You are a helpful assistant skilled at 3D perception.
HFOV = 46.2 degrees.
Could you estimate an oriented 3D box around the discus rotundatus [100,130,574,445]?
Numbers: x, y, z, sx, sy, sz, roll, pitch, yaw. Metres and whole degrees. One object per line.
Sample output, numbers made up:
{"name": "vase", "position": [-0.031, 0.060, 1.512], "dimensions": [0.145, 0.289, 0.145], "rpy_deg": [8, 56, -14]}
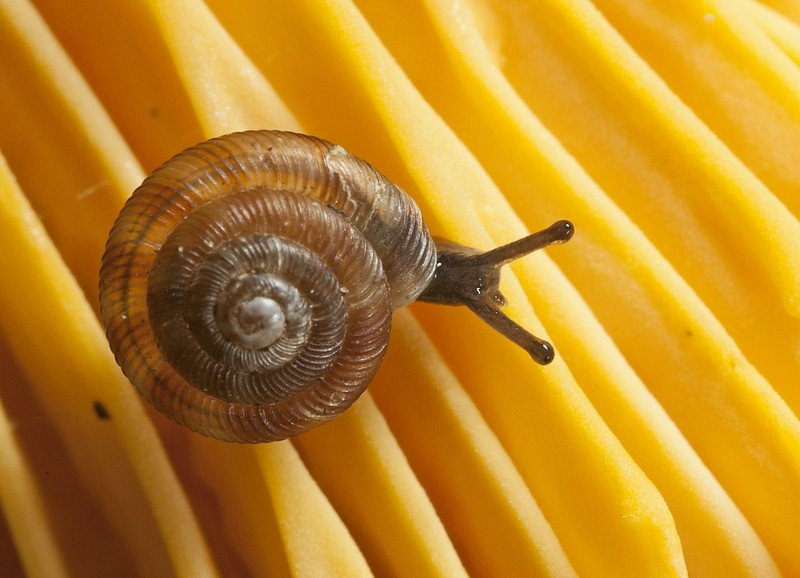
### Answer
{"name": "discus rotundatus", "position": [-0.228, 0.003, 1.640], "dimensions": [0.569, 0.416, 0.364], "rpy_deg": [18, 39, -19]}
